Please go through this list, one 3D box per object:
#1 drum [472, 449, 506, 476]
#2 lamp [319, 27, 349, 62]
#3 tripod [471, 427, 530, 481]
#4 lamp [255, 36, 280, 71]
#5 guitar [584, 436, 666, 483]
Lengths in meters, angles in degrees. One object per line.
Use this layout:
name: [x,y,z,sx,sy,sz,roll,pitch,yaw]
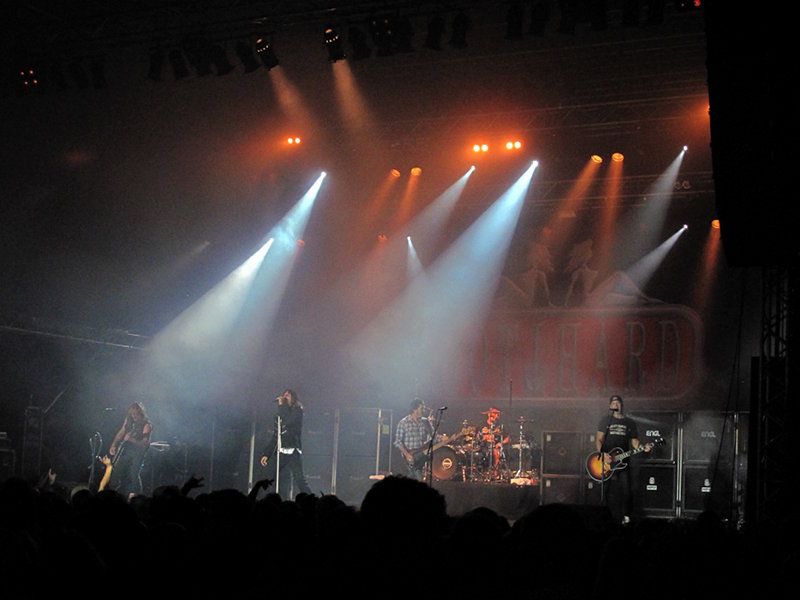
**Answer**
drum: [1.461,2.666,13.263,0.519,0.473,0.368,0,-8,6]
lamp: [-0.843,-3.314,10.489,0.286,0.125,0.454,-3,-53,7]
tripod: [1.672,2.555,13.282,0.807,0.786,0.823,-3,-9,16]
lamp: [-1.853,-3.225,10.720,0.319,0.295,0.460,5,-3,-40]
guitar: [3.148,2.285,11.553,1.357,0.539,0.161,-26,-11,12]
